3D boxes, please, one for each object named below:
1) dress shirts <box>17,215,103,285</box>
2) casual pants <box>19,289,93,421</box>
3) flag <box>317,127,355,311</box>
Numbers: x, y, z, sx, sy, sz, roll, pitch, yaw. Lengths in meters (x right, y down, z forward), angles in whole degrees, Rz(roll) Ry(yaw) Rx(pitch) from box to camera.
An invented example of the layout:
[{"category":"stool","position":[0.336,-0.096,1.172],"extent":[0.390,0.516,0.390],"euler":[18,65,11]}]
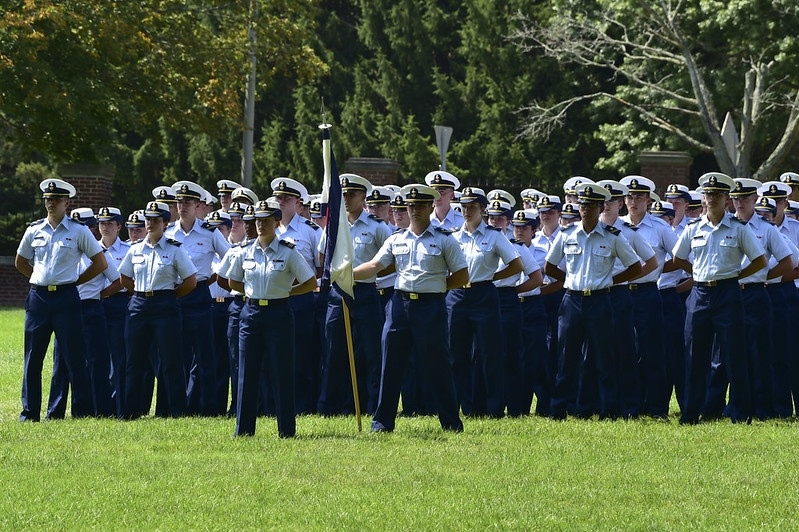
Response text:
[{"category":"dress shirts","position":[-6.468,-0.268,39.059],"extent":[1.572,1.182,0.642],"euler":[0,-17,1]},{"category":"casual pants","position":[-6.528,1.684,38.808],"extent":[1.281,2.602,0.664],"euler":[2,-8,-10]},{"category":"flag","position":[-1.196,-0.931,37.861],"extent":[0.450,2.986,0.926],"euler":[-5,-10,38]}]
